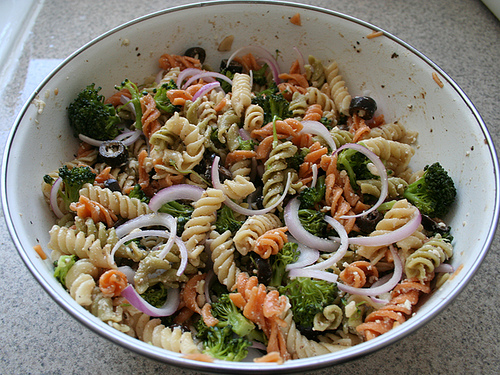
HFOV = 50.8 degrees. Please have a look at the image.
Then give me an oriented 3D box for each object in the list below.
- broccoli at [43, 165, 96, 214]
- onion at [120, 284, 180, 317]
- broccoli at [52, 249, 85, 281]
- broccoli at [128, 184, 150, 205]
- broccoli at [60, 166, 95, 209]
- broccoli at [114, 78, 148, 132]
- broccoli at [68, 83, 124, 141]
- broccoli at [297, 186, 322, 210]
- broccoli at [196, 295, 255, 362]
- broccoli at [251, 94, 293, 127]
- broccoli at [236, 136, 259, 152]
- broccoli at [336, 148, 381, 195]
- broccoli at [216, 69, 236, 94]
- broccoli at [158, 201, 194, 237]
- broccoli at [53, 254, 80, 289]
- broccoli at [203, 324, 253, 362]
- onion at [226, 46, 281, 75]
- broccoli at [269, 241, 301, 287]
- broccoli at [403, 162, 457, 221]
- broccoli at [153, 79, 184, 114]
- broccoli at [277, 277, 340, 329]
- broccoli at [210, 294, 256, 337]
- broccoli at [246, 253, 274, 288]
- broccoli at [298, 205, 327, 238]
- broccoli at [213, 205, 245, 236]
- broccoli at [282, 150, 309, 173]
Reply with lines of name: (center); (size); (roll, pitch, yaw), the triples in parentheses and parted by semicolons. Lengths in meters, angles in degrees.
broccoli: (-1.046, -0.024, 3.085); (0.233, 0.303, 0.288); (24, 103, 17)
onion: (-0.529, 0.601, 2.786); (0.232, 0.176, 0.083); (34, 122, 7)
broccoli: (-0.992, 0.405, 2.797); (0.103, 0.165, 0.066); (24, 116, 22)
broccoli: (-0.645, 0.037, 3.069); (0.114, 0.040, 0.112); (17, 106, 21)
broccoli: (-0.983, -0.056, 3.031); (0.116, 0.134, 0.149); (-13, 68, 35)
broccoli: (-0.724, -0.515, 3.251); (0.200, 0.176, 0.318); (-12, 109, -7)
broccoli: (-0.937, -0.432, 3.186); (0.186, 0.297, 0.349); (-12, 66, 43)
broccoli: (0.347, 0.044, 3.082); (0.103, 0.120, 0.091); (-45, 75, 34)
broccoli: (-0.133, 0.741, 2.706); (0.290, 0.133, 0.326); (-31, 47, -8)
broccoli: (0.135, -0.495, 3.249); (0.194, 0.201, 0.184); (-3, 109, -21)
broccoli: (-0.024, -0.257, 3.136); (0.089, 0.025, 0.097); (-8, 55, -11)
broccoli: (0.634, -0.076, 3.096); (0.220, 0.109, 0.287); (-27, 89, 5)
broccoli: (-0.140, -0.668, 3.466); (0.071, 0.140, 0.151); (40, 56, -35)
broccoli: (-0.418, 0.161, 2.994); (0.175, 0.090, 0.186); (22, 108, 18)
broccoli: (-0.978, 0.436, 2.773); (0.113, 0.052, 0.162); (-4, 72, -22)
broccoli: (-0.120, 0.797, 2.671); (0.182, 0.098, 0.204); (19, 41, -6)
onion: (0.030, -0.854, 3.460); (0.196, 0.190, 0.052); (15, 59, 4)
broccoli: (0.172, 0.408, 2.899); (0.157, 0.117, 0.227); (26, 84, -2)
broccoli: (1.030, 0.027, 2.985); (0.283, 0.269, 0.262); (-1, 82, 3)
broccoli: (-0.479, -0.552, 3.218); (0.186, 0.064, 0.158); (-16, 79, 2)
broccoli: (0.320, 0.583, 2.818); (0.259, 0.143, 0.271); (-19, 70, -20)
broccoli: (-0.088, 0.687, 2.789); (0.221, 0.100, 0.160); (25, 68, 34)
broccoli: (0.061, 0.437, 2.876); (0.130, 0.078, 0.179); (28, 116, 28)
broccoli: (0.348, 0.191, 3.004); (0.159, 0.069, 0.125); (31, 72, 13)
broccoli: (-0.110, 0.183, 3.024); (0.154, 0.091, 0.158); (-42, 72, 4)
broccoli: (0.269, -0.151, 3.143); (0.058, 0.121, 0.126); (45, 63, -13)
